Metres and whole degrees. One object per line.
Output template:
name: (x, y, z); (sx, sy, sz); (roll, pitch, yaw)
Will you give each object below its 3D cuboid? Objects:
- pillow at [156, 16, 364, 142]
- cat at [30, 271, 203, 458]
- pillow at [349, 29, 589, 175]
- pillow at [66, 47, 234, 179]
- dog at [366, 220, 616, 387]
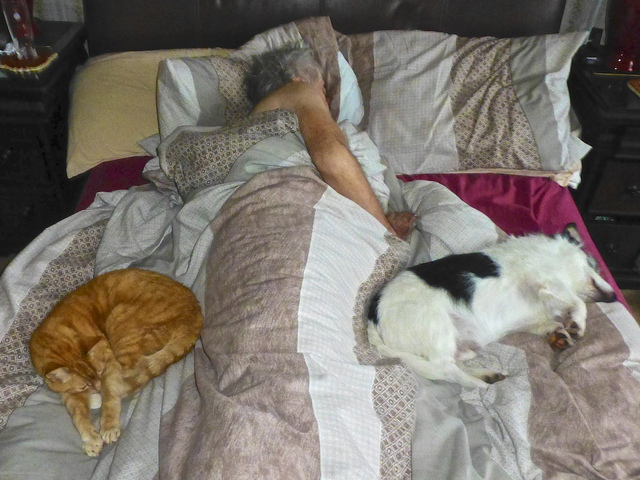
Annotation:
pillow: (-0.269, -0.614, 2.245); (0.628, 0.532, 0.201); (-14, -1, -13)
cat: (-0.601, 0.301, 1.620); (0.451, 0.196, 0.609); (-11, 36, -5)
pillow: (0.577, -0.544, 2.247); (0.979, 0.184, 0.721); (1, 59, 7)
pillow: (-0.694, -0.481, 2.348); (0.549, 0.145, 0.566); (7, 73, 1)
dog: (0.454, 0.165, 1.608); (0.592, 0.356, 0.343); (-8, 3, 0)
